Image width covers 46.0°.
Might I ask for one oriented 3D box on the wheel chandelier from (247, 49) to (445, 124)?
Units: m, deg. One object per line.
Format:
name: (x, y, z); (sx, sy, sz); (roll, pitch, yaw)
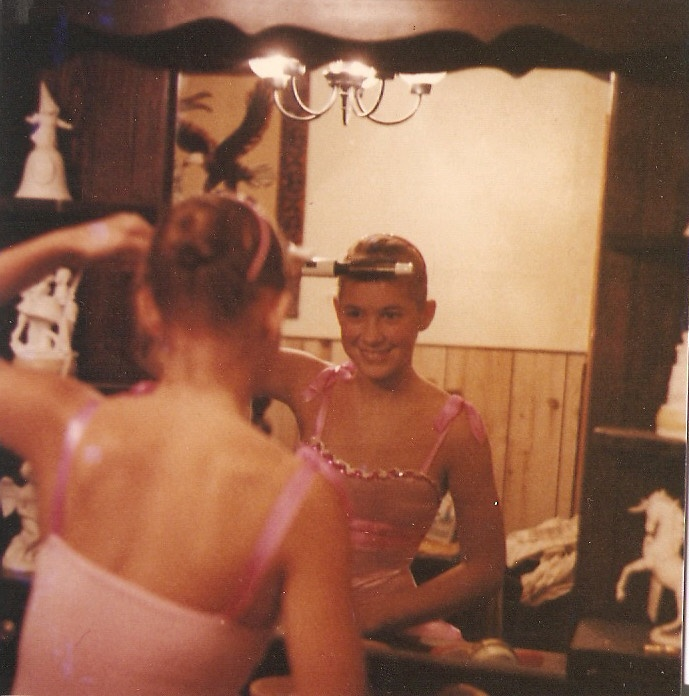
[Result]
wheel chandelier: (-0.003, -0.564, 1.790); (0.441, 0.152, 0.028); (6, 1, 7)
